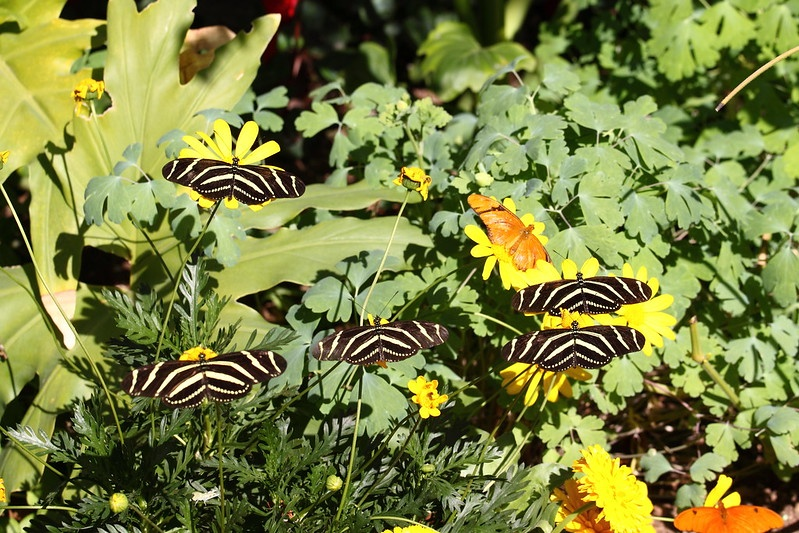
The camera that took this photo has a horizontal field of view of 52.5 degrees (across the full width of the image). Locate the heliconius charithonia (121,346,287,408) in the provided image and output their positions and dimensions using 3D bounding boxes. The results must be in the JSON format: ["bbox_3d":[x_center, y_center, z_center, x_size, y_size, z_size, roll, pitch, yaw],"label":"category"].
[{"bbox_3d":[-0.493,0.298,2.083,0.409,0.036,0.159,-6,36,-17],"label":"heliconius charithonia"}]

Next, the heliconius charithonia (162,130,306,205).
[{"bbox_3d":[-0.464,-0.247,2.286,0.387,0.130,0.147,21,26,-12],"label":"heliconius charithonia"}]

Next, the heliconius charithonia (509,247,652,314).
[{"bbox_3d":[0.498,0.082,2.212,0.361,0.149,0.044,-6,26,20],"label":"heliconius charithonia"}]

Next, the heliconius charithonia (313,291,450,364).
[{"bbox_3d":[-0.053,0.182,2.179,0.290,0.027,0.130,-8,73,-8],"label":"heliconius charithonia"}]
